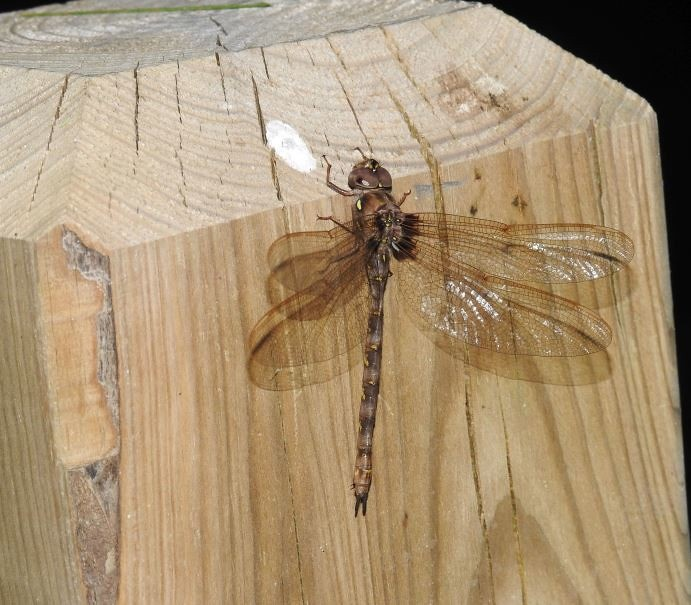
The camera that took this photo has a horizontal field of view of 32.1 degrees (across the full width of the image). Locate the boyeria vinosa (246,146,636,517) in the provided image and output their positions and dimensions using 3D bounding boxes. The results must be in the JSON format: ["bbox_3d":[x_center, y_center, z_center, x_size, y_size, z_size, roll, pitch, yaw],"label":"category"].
[{"bbox_3d":[-0.007,0.019,2.052,0.244,0.587,0.545,12,0,-20],"label":"boyeria vinosa"}]
